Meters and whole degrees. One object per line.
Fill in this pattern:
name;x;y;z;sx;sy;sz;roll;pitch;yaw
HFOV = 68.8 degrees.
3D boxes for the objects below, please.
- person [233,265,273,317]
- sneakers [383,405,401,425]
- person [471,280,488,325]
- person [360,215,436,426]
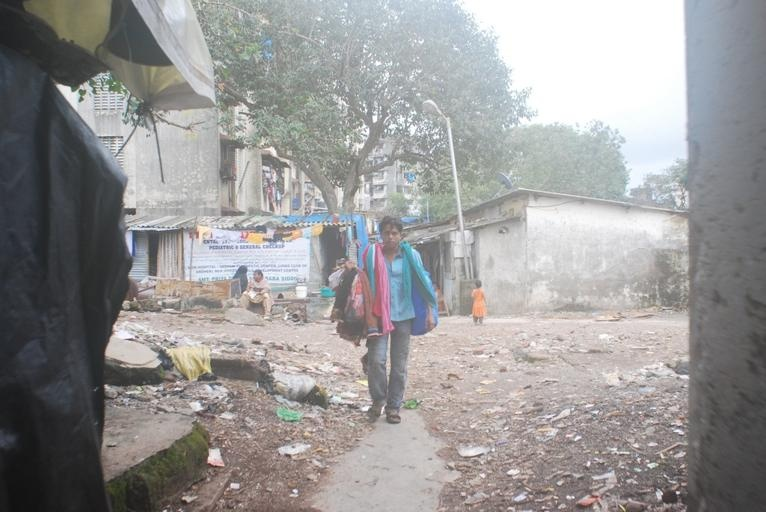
person;-3.232;0.933;14.400;0.887;1.198;0.695;-4;1;23
sneakers;0.095;1.553;5.541;0.158;0.148;0.250;-5;0;-4
person;2.376;1.141;13.904;0.304;0.826;0.981;-4;0;9
person;0.148;0.611;5.633;0.753;1.765;0.439;-5;1;-4
